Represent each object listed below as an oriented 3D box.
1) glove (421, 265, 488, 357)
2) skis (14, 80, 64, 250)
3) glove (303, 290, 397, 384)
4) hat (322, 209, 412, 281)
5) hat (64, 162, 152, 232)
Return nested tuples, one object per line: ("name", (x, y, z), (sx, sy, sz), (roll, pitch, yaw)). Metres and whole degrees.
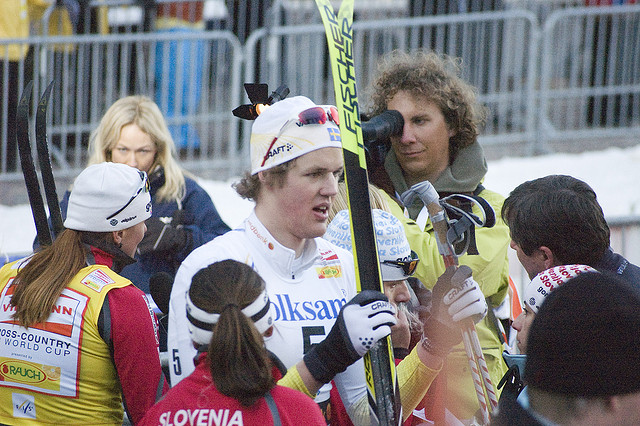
("glove", (1.117, 0.830, 13.016), (0.526, 0.769, 0.154), (-1, -3, 24))
("skis", (-2.788, -0.451, 15.157), (0.240, 1.825, 0.254), (-3, 10, 23))
("glove", (0.243, 1.021, 12.702), (0.756, 0.760, 0.153), (0, -2, -3))
("hat", (0.436, 0.251, 13.557), (0.747, 0.407, 0.536), (11, 11, 14))
("hat", (-1.860, -0.162, 13.365), (0.800, 0.529, 0.601), (-6, 26, -5))
